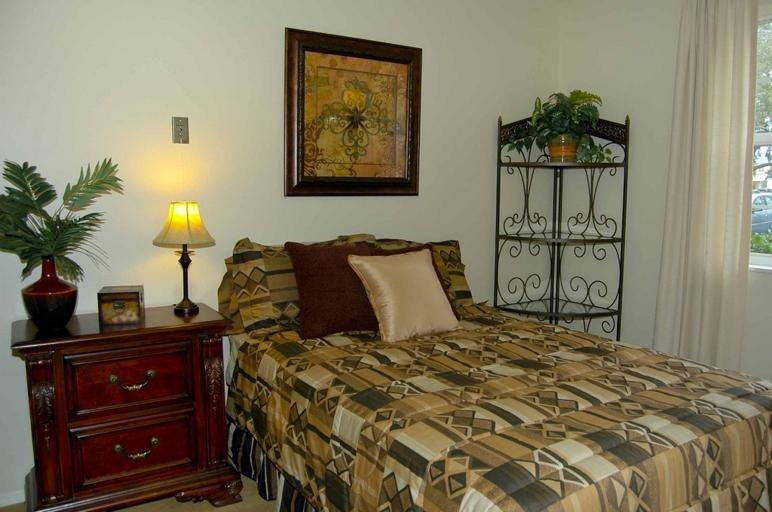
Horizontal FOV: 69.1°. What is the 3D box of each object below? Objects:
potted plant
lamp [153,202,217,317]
[{"bbox_3d":[1.306,-0.917,4.351,0.641,0.414,0.640,-3,9,-7],"label":"potted plant"},{"bbox_3d":[-1.192,0.005,3.346,0.340,0.664,0.390,-4,7,-20],"label":"lamp"}]
